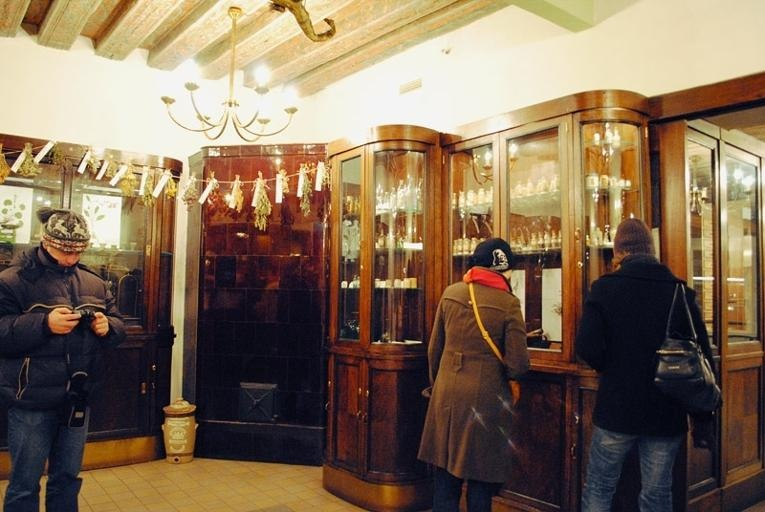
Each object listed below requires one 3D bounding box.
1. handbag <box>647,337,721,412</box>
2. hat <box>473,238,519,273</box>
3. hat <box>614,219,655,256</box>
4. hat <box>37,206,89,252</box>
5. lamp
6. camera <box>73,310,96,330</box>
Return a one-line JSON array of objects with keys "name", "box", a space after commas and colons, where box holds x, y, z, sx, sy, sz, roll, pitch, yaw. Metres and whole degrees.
[{"name": "handbag", "box": [2.046, 0.815, 4.045, 0.292, 0.540, 0.393, -18, 0, -37]}, {"name": "hat", "box": [0.853, -0.014, 4.612, 0.306, 0.165, 0.214, -6, 8, -42]}, {"name": "hat", "box": [1.777, -0.131, 4.324, 0.250, 0.260, 0.276, 1, 1, 6]}, {"name": "hat", "box": [-2.417, -0.232, 4.626, 0.329, 0.290, 0.533, 0, 17, -40]}, {"name": "lamp", "box": [-1.802, -1.910, 6.880, 1.562, 1.454, 1.590, 0, -7, 12]}, {"name": "camera", "box": [-2.183, 0.465, 4.410, 0.133, 0.128, 0.053, 6, 10, -32]}]
